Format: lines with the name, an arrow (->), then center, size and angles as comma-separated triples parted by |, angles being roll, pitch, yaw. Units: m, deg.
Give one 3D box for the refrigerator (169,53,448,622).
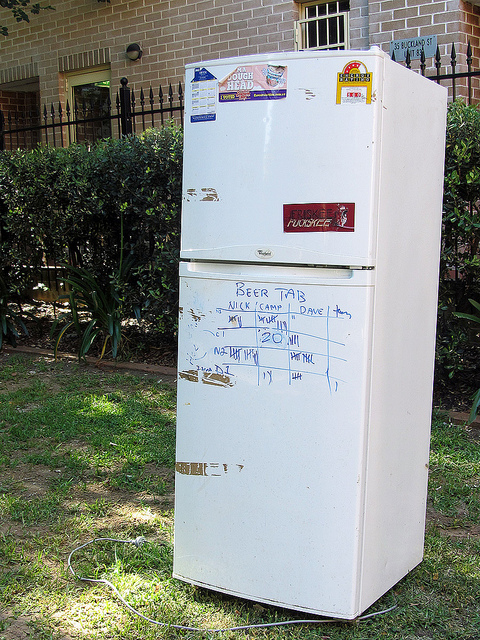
refrigerator -> 0.270, 0.042, 2.386 | 0.828, 1.926, 0.707 | 5, 5, 39
